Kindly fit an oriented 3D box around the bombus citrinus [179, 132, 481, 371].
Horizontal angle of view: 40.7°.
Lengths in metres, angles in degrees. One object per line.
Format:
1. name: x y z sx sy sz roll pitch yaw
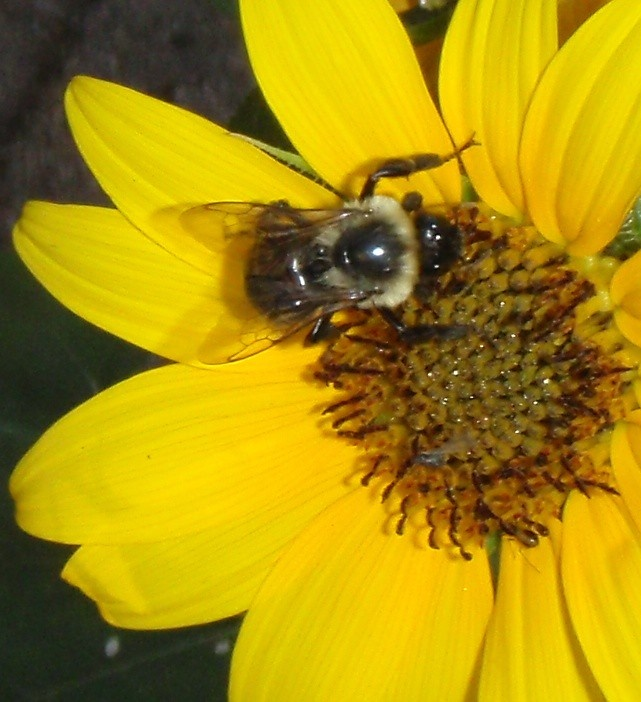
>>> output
1. bombus citrinus: 0.032 -0.079 1.161 0.395 0.198 0.102 -12 -38 5
